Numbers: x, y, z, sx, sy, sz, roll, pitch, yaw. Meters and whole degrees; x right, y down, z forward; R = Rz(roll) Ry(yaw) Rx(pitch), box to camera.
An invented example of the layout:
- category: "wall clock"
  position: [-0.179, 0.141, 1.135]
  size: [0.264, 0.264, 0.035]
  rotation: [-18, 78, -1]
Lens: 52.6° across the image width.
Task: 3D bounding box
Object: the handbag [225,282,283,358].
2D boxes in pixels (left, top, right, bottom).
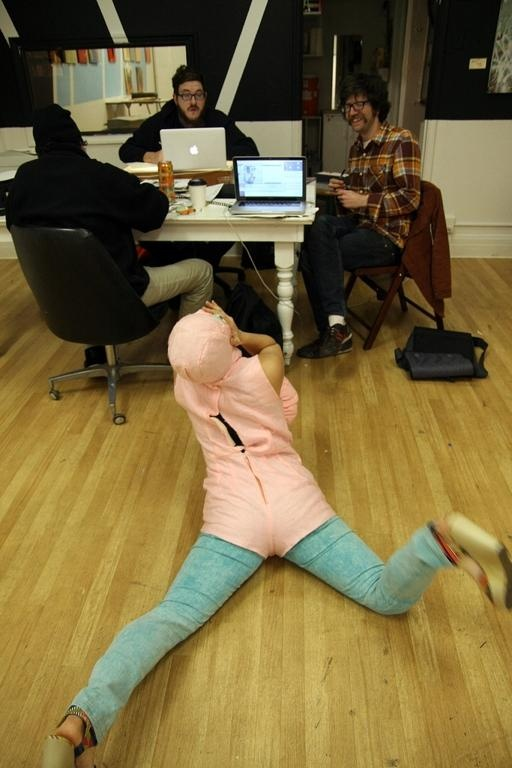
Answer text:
- category: "handbag"
  position: [-0.020, -0.307, 2.415]
  size: [0.252, 0.328, 0.099]
  rotation: [31, 47, 11]

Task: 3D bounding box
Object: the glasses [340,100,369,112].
- category: "glasses"
  position: [0.468, -1.385, 2.578]
  size: [0.066, 0.055, 0.149]
  rotation: [-22, 37, -31]

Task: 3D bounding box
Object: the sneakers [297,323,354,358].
- category: "sneakers"
  position: [0.347, -0.257, 2.731]
  size: [0.320, 0.188, 0.136]
  rotation: [-9, 46, -2]

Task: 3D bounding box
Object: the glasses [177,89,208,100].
- category: "glasses"
  position: [-0.404, -1.797, 3.216]
  size: [0.154, 0.058, 0.078]
  rotation: [-11, 32, -15]

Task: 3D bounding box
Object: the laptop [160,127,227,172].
- category: "laptop"
  position: [-0.337, -1.279, 2.822]
  size: [0.322, 0.228, 0.242]
  rotation: [1, 34, -1]

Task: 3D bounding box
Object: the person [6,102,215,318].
- category: "person"
  position: [-0.580, -0.623, 2.168]
  size: [0.805, 0.966, 0.467]
  rotation: [-25, 38, -34]

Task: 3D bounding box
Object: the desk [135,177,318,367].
- category: "desk"
  position: [-0.131, -0.661, 2.652]
  size: [0.876, 0.673, 0.714]
  rotation: [-1, 27, 2]

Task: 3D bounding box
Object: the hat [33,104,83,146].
- category: "hat"
  position: [-0.764, -0.989, 1.987]
  size: [0.175, 0.147, 0.155]
  rotation: [-13, 33, -18]

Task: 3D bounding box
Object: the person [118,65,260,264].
- category: "person"
  position: [-0.472, -1.411, 3.572]
  size: [0.851, 1.318, 0.675]
  rotation: [4, 23, 9]

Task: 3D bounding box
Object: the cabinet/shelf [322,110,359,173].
- category: "cabinet/shelf"
  position: [0.972, -2.902, 6.213]
  size: [0.410, 0.717, 0.427]
  rotation: [2, 39, 4]
